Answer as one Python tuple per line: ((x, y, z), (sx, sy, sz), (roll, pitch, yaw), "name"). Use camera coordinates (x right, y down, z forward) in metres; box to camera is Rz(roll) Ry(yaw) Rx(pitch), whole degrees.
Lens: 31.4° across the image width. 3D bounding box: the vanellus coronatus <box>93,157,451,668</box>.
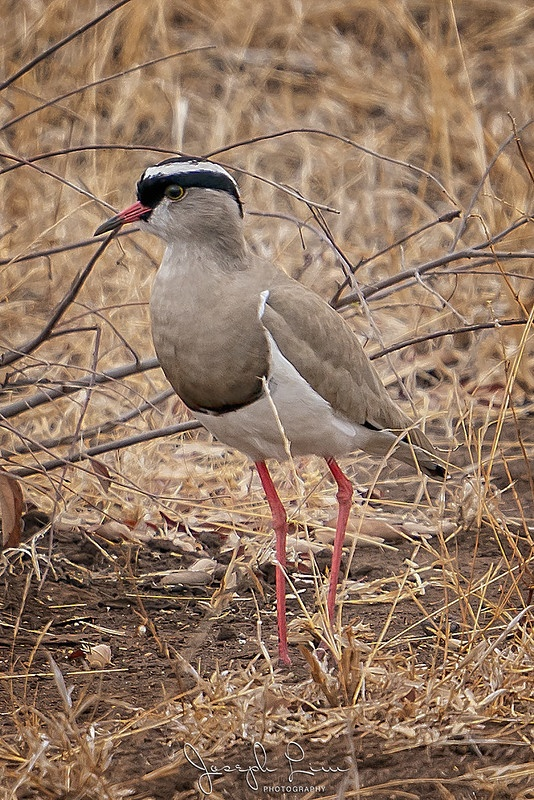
((-0.021, -0.080, 2.572), (0.801, 1.096, 0.392), (-4, 21, -9), "vanellus coronatus")
